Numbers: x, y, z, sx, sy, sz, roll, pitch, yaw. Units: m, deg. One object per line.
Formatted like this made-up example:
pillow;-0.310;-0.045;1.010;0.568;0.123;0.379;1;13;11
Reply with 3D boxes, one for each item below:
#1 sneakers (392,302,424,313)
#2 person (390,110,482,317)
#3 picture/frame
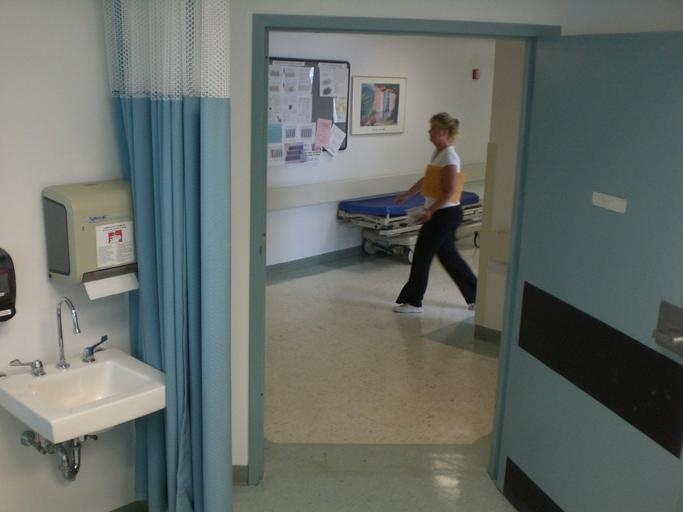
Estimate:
sneakers;0.739;0.576;5.914;0.262;0.108;0.127;5;8;-1
person;1.036;-0.380;5.578;0.862;2.140;0.763;3;19;8
picture/frame;0.534;-2.059;7.326;0.975;0.738;0.023;-12;21;-39
